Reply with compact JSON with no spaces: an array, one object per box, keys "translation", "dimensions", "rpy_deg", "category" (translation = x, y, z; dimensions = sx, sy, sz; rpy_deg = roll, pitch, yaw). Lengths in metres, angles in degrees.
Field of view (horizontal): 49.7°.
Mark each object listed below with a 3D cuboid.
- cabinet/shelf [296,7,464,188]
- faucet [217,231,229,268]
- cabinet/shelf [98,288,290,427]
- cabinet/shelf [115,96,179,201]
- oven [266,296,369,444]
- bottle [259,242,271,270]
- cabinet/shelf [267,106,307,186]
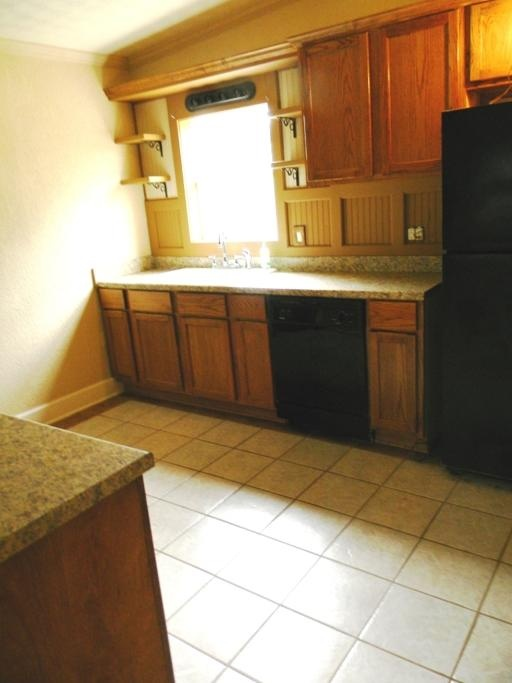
[{"translation":[0.702,-1.265,2.894],"dimensions":[0.927,0.748,0.359],"rpy_deg":[11,27,40],"category":"cabinet/shelf"},{"translation":[-0.239,-0.661,3.981],"dimensions":[0.065,0.242,0.141],"rpy_deg":[-9,16,-4],"category":"faucet"},{"translation":[-0.386,-0.011,3.801],"dimensions":[1.422,0.844,0.463],"rpy_deg":[7,20,30],"category":"cabinet/shelf"},{"translation":[-0.836,-1.414,4.105],"dimensions":[0.403,0.722,0.269],"rpy_deg":[4,20,35],"category":"cabinet/shelf"},{"translation":[0.367,0.038,3.178],"dimensions":[0.584,0.733,0.539],"rpy_deg":[6,23,18],"category":"oven"},{"translation":[0.054,-0.586,3.756],"dimensions":[0.066,0.178,0.118],"rpy_deg":[-4,16,11],"category":"bottle"},{"translation":[0.198,-1.200,3.436],"dimensions":[0.157,0.446,0.271],"rpy_deg":[-13,18,-31],"category":"cabinet/shelf"}]
